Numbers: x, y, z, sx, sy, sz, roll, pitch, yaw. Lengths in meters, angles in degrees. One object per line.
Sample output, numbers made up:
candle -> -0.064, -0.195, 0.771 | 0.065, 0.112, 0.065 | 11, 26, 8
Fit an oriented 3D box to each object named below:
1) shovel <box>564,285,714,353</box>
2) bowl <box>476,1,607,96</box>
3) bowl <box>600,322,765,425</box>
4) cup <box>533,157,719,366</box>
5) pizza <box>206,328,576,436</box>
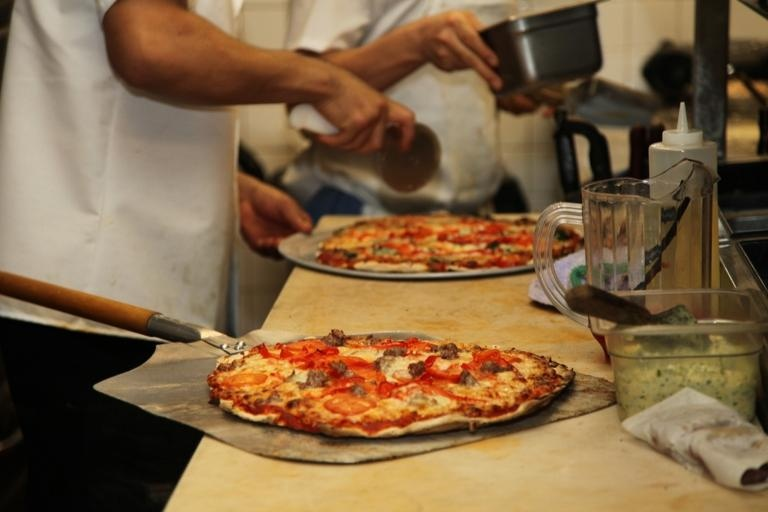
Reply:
shovel -> 0.292, 0.087, 0.834 | 0.183, 0.067, 0.076 | 11, -14, -30
bowl -> 0.271, -0.335, 1.236 | 0.133, 0.078, 0.185 | -4, -9, -19
bowl -> 0.352, 0.126, 0.864 | 0.163, 0.093, 0.121 | -5, 9, 12
cup -> 0.333, 0.013, 1.013 | 0.251, 0.223, 0.143 | -3, 10, 27
pizza -> -0.004, 0.170, 0.940 | 0.287, 0.046, 0.198 | 2, 6, 6
